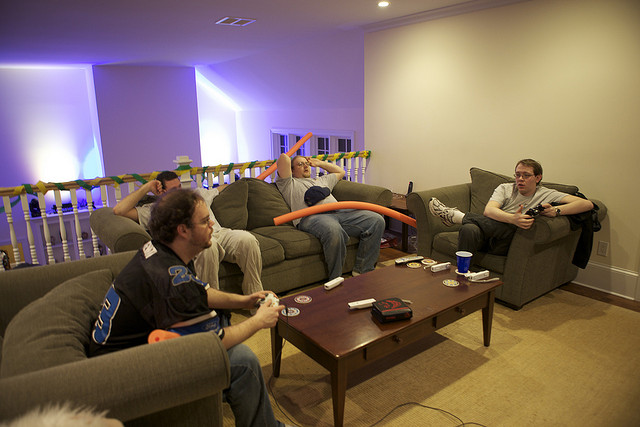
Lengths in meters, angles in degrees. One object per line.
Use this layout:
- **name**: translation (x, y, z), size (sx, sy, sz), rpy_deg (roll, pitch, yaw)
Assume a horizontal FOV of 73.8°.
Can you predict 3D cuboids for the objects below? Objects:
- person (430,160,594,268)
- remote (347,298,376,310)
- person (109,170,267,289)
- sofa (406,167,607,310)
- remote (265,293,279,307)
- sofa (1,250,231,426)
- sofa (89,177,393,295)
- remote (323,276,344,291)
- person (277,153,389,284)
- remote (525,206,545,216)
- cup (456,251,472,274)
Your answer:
- **person**: translation (1.828, 0.076, 4.178), size (1.501, 1.378, 0.765), rpy_deg (7, -10, 19)
- **remote**: translation (0.314, 0.659, 3.127), size (0.153, 0.035, 0.081), rpy_deg (-8, 16, -22)
- **person**: translation (-1.164, 0.193, 4.050), size (1.012, 1.339, 0.900), rpy_deg (-7, 22, 4)
- **sofa**: translation (2.102, 0.164, 4.714), size (1.351, 1.382, 1.836), rpy_deg (-10, 16, -38)
- **remote**: translation (-0.312, 0.576, 2.832), size (0.057, 0.081, 0.024), rpy_deg (-6, 46, 50)
- **sofa**: translation (-1.233, 0.783, 2.399), size (0.942, 0.850, 1.314), rpy_deg (-11, 13, -39)
- **sofa**: translation (-0.492, 0.190, 4.313), size (3.004, 1.213, 1.200), rpy_deg (-13, 20, -42)
- **remote**: translation (0.129, 0.566, 3.438), size (0.071, 0.042, 0.173), rpy_deg (12, 21, 40)
- **person**: translation (0.110, -0.035, 4.710), size (1.051, 1.587, 0.984), rpy_deg (-11, -7, 38)
- **remote**: translation (1.942, -0.032, 3.851), size (0.140, 0.081, 0.053), rpy_deg (-22, -30, -5)
- **cup**: translation (1.191, 0.395, 3.614), size (0.156, 0.168, 0.159), rpy_deg (2, 12, 0)
